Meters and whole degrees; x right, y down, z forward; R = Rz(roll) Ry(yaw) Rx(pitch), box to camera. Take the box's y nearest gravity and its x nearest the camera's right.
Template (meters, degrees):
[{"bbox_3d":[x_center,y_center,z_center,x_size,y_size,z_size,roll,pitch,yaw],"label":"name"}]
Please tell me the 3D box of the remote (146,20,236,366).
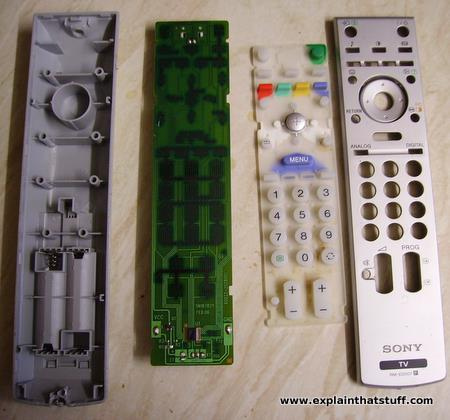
[{"bbox_3d":[-0.112,-0.073,1.911,0.252,1.132,0.064,0,3,-2],"label":"remote"}]
